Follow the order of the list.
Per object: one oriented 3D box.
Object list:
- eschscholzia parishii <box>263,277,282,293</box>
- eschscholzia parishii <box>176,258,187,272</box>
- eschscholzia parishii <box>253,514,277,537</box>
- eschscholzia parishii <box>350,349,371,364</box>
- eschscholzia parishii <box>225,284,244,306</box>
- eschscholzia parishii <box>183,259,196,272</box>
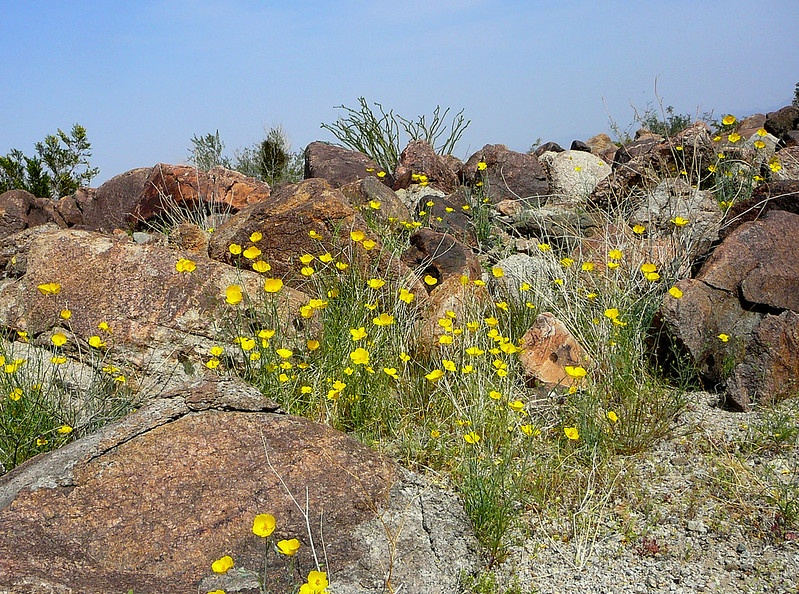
[{"bbox_3d":[-0.977,-0.091,6.217,0.122,0.110,0.316,-13,3,-8],"label":"eschscholzia parishii"},{"bbox_3d":[-1.715,-0.252,6.316,0.094,0.126,0.051,-2,-20,16],"label":"eschscholzia parishii"},{"bbox_3d":[-0.773,1.309,4.563,0.097,0.130,0.187,-13,3,-35],"label":"eschscholzia parishii"},{"bbox_3d":[-0.289,0.449,5.825,0.105,0.129,0.057,25,-30,-3],"label":"eschscholzia parishii"},{"bbox_3d":[-1.267,-0.020,6.119,0.147,0.179,0.078,19,-7,-21],"label":"eschscholzia parishii"},{"bbox_3d":[-1.660,-0.237,6.355,0.092,0.097,0.050,-37,-22,-25],"label":"eschscholzia parishii"}]
